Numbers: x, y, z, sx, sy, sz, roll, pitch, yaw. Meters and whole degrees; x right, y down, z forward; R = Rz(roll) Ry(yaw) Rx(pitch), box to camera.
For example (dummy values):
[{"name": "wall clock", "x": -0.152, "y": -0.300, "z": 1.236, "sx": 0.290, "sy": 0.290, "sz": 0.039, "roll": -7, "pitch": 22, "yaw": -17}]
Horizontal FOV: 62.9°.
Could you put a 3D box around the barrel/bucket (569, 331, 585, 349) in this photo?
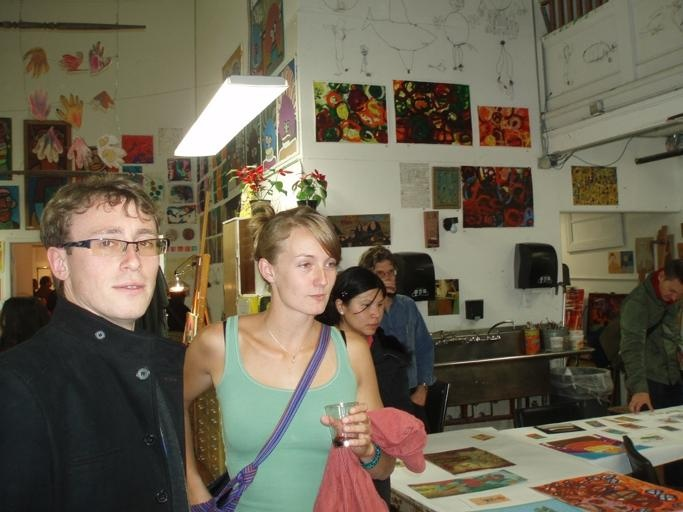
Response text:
[{"name": "barrel/bucket", "x": 2.446, "y": 0.855, "z": 5.807, "sx": 0.160, "sy": 0.202, "sz": 0.174, "roll": -1, "pitch": -7, "yaw": 0}]

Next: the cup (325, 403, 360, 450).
[{"name": "cup", "x": -0.005, "y": 0.579, "z": 1.942, "sx": 0.136, "sy": 0.151, "sz": 0.140, "roll": -2, "pitch": -8, "yaw": 0}]

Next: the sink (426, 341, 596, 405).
[{"name": "sink", "x": 1.593, "y": 1.198, "z": 5.564, "sx": 1.101, "sy": 0.257, "sz": 0.694, "roll": -3, "pitch": 3, "yaw": -15}]

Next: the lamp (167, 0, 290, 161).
[{"name": "lamp", "x": -1.341, "y": -2.222, "z": 6.675, "sx": 0.557, "sy": 0.126, "sz": 3.265, "roll": -13, "pitch": 1, "yaw": -21}]

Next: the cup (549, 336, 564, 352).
[{"name": "cup", "x": 2.183, "y": 0.875, "z": 5.681, "sx": 0.140, "sy": 0.148, "sz": 0.142, "roll": -2, "pitch": 0, "yaw": 0}]

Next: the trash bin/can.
[{"name": "trash bin/can", "x": 2.184, "y": 1.198, "z": 5.163, "sx": 0.599, "sy": 0.446, "sz": 0.582, "roll": 2, "pitch": -1, "yaw": -36}]

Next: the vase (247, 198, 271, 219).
[{"name": "vase", "x": -0.709, "y": -0.408, "z": 4.677, "sx": 0.258, "sy": 0.194, "sz": 0.232, "roll": 0, "pitch": 0, "yaw": -1}]

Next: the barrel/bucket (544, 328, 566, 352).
[{"name": "barrel/bucket", "x": 2.178, "y": 0.841, "z": 5.745, "sx": 0.214, "sy": 0.227, "sz": 0.215, "roll": -2, "pitch": -1, "yaw": 0}]

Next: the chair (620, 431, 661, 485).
[{"name": "chair", "x": 1.580, "y": 1.096, "z": 2.957, "sx": 0.152, "sy": 0.239, "sz": 0.351, "roll": 1, "pitch": 2, "yaw": 27}]

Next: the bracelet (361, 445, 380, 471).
[{"name": "bracelet", "x": 0.113, "y": 0.756, "z": 2.096, "sx": 0.070, "sy": 0.037, "sz": 0.083, "roll": -27, "pitch": -50, "yaw": 16}]

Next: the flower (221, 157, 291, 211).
[{"name": "flower", "x": -0.845, "y": -0.743, "z": 5.510, "sx": 0.623, "sy": 0.410, "sz": 0.612, "roll": -1, "pitch": 4, "yaw": -17}]

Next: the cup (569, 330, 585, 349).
[{"name": "cup", "x": 2.441, "y": 0.863, "z": 5.808, "sx": 0.158, "sy": 0.202, "sz": 0.173, "roll": -1, "pitch": -7, "yaw": 0}]

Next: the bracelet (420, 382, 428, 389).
[{"name": "bracelet", "x": 0.654, "y": 1.013, "z": 4.451, "sx": 0.055, "sy": 0.022, "sz": 0.073, "roll": 0, "pitch": 0, "yaw": -3}]

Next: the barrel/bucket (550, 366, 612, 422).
[{"name": "barrel/bucket", "x": 2.161, "y": 1.214, "z": 5.195, "sx": 0.590, "sy": 0.442, "sz": 0.572, "roll": 1, "pitch": -1, "yaw": 0}]

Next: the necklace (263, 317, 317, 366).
[{"name": "necklace", "x": -0.198, "y": 0.328, "z": 2.189, "sx": 0.151, "sy": 0.199, "sz": 0.114, "roll": 1, "pitch": -1, "yaw": -4}]
